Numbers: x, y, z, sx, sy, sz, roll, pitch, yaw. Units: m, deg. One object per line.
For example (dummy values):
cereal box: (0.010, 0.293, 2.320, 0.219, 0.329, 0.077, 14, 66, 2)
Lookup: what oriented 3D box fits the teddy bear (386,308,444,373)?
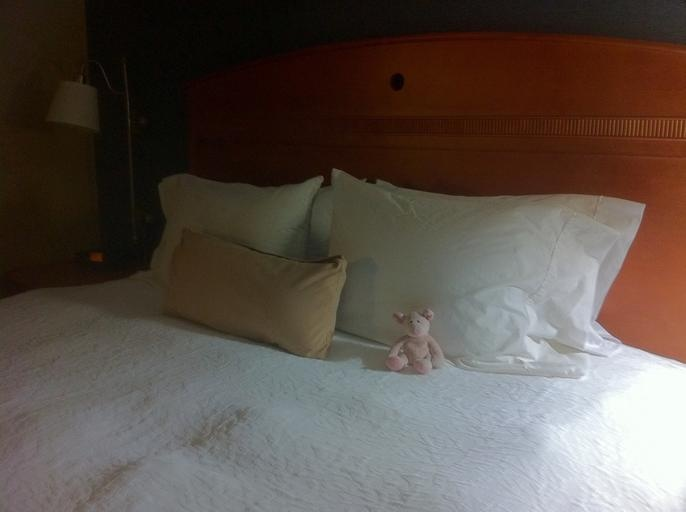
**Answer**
teddy bear: (0.219, 0.237, 1.560, 0.199, 0.256, 0.162, 0, -5, 19)
